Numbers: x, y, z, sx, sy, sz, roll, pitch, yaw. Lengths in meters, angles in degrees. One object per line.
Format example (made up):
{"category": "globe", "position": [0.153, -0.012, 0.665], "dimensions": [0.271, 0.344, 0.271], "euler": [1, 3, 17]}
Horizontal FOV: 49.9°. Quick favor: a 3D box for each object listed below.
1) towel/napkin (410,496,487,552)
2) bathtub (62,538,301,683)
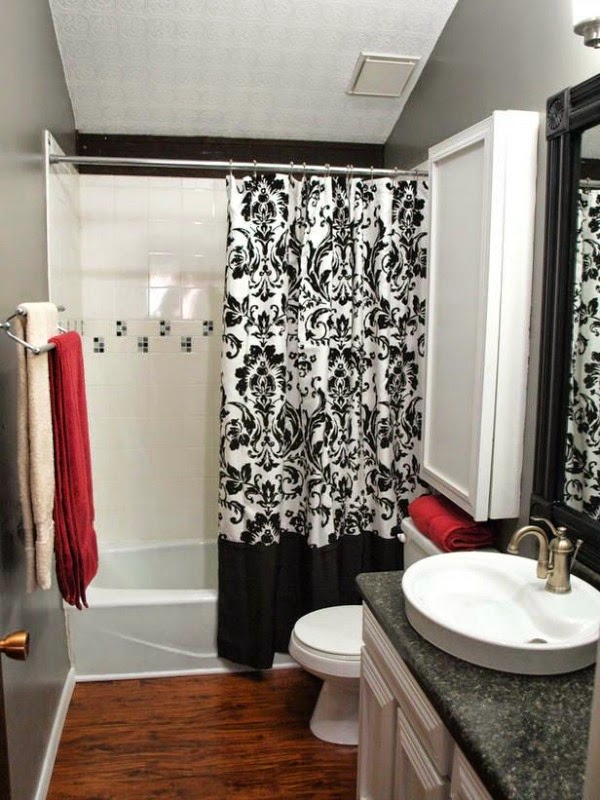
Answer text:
{"category": "towel/napkin", "position": [0.461, 0.383, 2.001], "dimensions": [0.175, 0.102, 0.311], "euler": [-1, 7, -11]}
{"category": "bathtub", "position": [-0.588, 0.863, 2.557], "dimensions": [0.586, 0.252, 0.465], "euler": [-2, 11, -7]}
